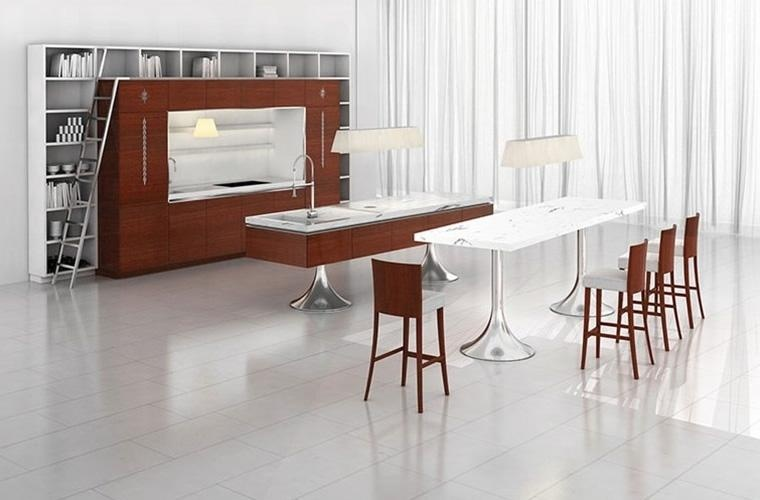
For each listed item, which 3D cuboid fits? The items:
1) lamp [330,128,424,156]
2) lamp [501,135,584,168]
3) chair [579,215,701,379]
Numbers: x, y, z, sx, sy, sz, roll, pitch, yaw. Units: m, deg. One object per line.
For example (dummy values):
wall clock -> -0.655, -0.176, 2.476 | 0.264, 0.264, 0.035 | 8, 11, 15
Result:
lamp -> -0.095, -1.439, 7.085 | 0.637, 0.307, 1.235 | 5, 12, 38
lamp -> 1.917, -1.184, 6.509 | 1.091, 0.346, 0.341 | -10, 13, -39
chair -> 2.775, 0.533, 5.844 | 0.601, 1.003, 1.883 | 4, 8, 35
